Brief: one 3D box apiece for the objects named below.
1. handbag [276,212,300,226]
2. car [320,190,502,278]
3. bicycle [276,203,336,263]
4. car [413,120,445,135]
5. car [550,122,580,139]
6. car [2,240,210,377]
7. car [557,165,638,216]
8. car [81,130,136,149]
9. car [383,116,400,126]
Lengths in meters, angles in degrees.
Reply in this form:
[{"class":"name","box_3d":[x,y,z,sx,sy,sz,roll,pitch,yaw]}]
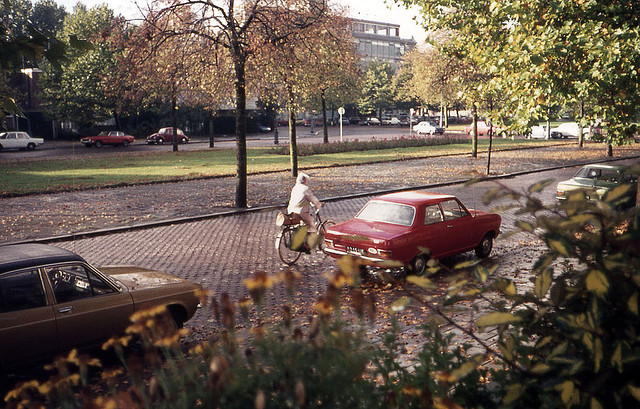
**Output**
[{"class":"handbag","box_3d":[-0.842,0.385,13.518,0.392,0.179,0.397,-3,10,-27]},{"class":"car","box_3d":[2.360,0.764,12.845,4.468,1.892,1.766,-11,14,-33]},{"class":"bicycle","box_3d":[-0.314,0.730,13.898,0.990,1.338,2.059,12,29,43]},{"class":"car","box_3d":[17.060,-11.597,79.190,4.375,2.213,2.402,4,12,33]},{"class":"car","box_3d":[30.310,-9.103,62.807,2.950,1.914,1.996,6,14,32]},{"class":"car","box_3d":[-3.273,1.597,7.776,3.090,1.094,1.565,-12,16,-43]},{"class":"car","box_3d":[5.136,-0.336,9.406,0.986,0.708,2.017,9,20,38]},{"class":"car","box_3d":[-24.339,-7.369,58.617,2.766,1.776,5.319,4,14,25]},{"class":"car","box_3d":[15.343,-17.994,107.434,3.679,1.907,2.321,-2,5,-22]}]
